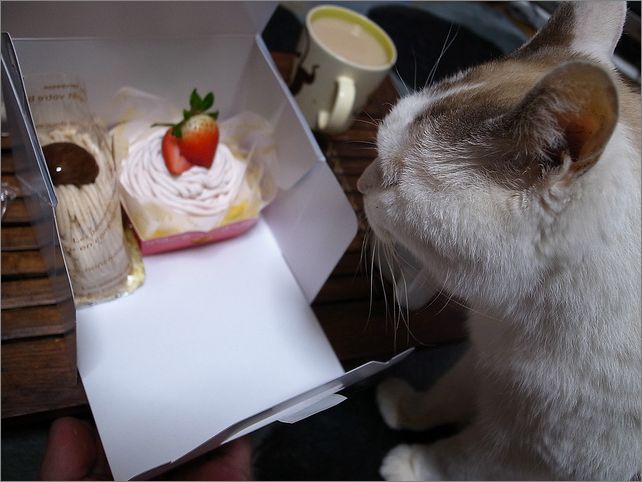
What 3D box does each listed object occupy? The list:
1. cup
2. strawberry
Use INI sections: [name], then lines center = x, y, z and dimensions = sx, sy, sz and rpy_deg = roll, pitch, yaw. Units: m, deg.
[cup]
center = 0.047, -0.331, 1.046
dimensions = 0.152, 0.170, 0.267
rpy_deg = 24, 32, -8
[strawberry]
center = -0.199, -0.153, 0.856
dimensions = 0.069, 0.103, 0.070
rpy_deg = 22, 20, 18
